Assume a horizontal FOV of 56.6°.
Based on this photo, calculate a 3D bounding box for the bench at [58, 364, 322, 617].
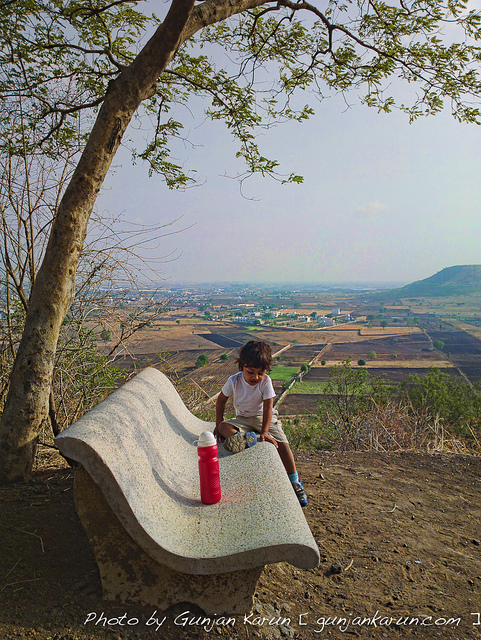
[{"bbox_3d":[-0.295,0.976,3.062,1.215,0.823,1.994,8,2,-5],"label":"bench"}]
